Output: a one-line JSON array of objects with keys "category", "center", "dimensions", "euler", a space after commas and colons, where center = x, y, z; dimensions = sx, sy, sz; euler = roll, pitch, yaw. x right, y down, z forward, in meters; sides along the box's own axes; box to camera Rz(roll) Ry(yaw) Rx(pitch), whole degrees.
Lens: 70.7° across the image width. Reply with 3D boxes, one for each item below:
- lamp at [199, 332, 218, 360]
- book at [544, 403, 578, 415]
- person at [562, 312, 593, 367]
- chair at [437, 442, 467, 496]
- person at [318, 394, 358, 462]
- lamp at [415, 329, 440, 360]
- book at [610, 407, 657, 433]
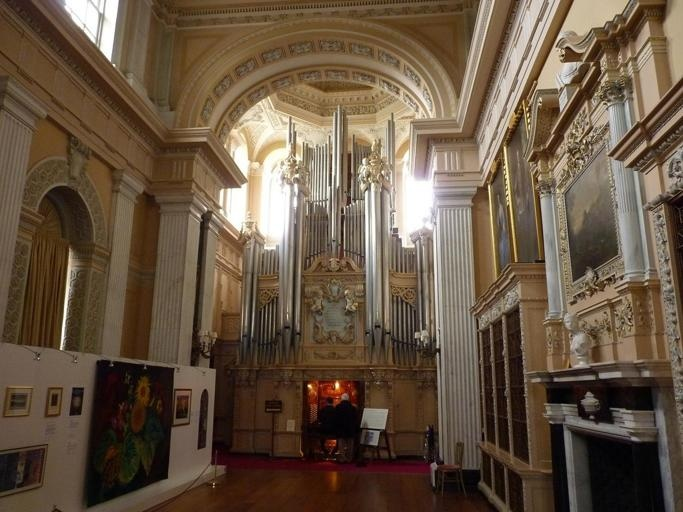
[{"category": "lamp", "center": [-3.032, 1.964, 10.827], "dimensions": [0.276, 0.609, 0.503], "euler": [-1, -14, 10]}, {"category": "book", "center": [2.211, 1.546, 4.848], "dimensions": [0.125, 0.130, 0.523], "euler": [2, -15, -5]}, {"category": "person", "center": [2.270, 0.793, 4.606], "dimensions": [0.223, 0.544, 0.980], "euler": [-5, -16, 25]}, {"category": "chair", "center": [1.850, 3.594, 8.237], "dimensions": [0.478, 0.763, 1.459], "euler": [-2, -15, 13]}, {"category": "person", "center": [-0.092, 4.161, 11.832], "dimensions": [0.957, 1.547, 1.393], "euler": [1, -14, 0]}, {"category": "lamp", "center": [2.081, 2.141, 12.027], "dimensions": [0.480, 0.675, 0.906], "euler": [0, -15, 3]}, {"category": "book", "center": [2.229, 1.260, 3.757], "dimensions": [0.159, 0.142, 0.430], "euler": [2, -15, -3]}]
